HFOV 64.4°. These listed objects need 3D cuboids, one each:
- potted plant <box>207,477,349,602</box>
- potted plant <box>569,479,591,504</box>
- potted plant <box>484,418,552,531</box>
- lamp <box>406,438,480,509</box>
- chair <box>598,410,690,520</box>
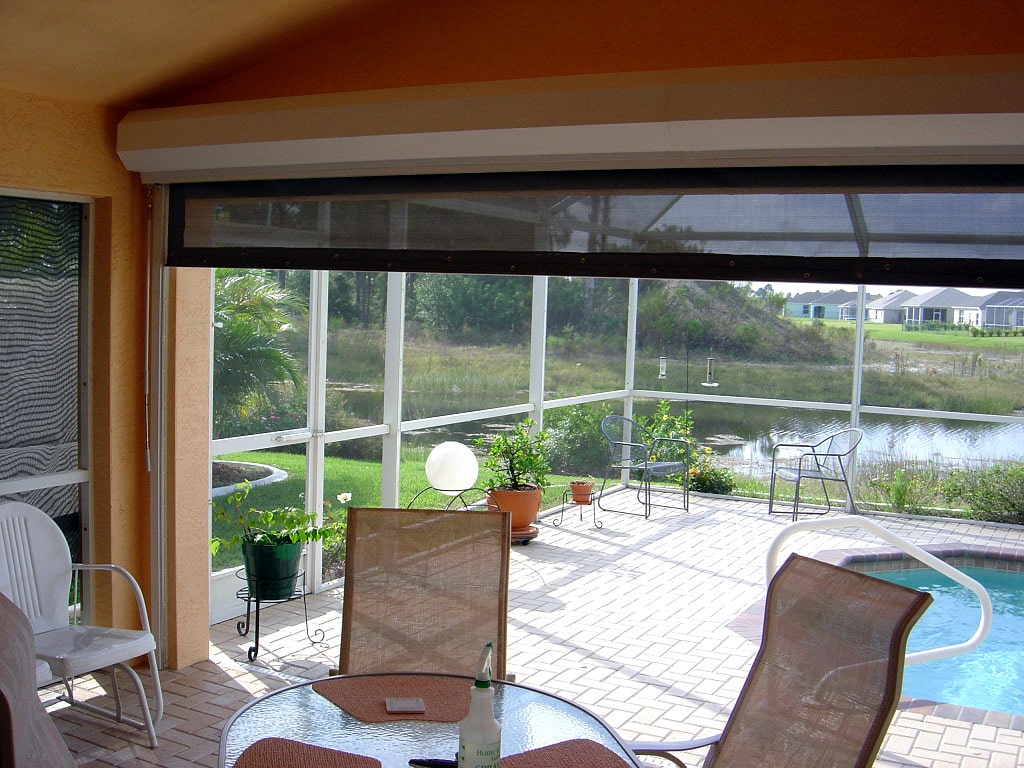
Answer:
[{"bbox_3d":[-1.504,0.996,5.258,0.981,0.599,0.632,1,-1,12],"label":"potted plant"},{"bbox_3d":[0.735,1.188,8.762,0.233,0.248,0.364,2,-3,3],"label":"potted plant"},{"bbox_3d":[0.034,0.863,7.755,0.608,1.057,0.945,3,-3,1],"label":"potted plant"},{"bbox_3d":[-0.570,0.781,6.931,0.468,0.576,0.637,3,-3,-9],"label":"lamp"},{"bbox_3d":[1.714,0.973,9.736,1.162,1.442,1.354,-1,0,38],"label":"chair"}]
